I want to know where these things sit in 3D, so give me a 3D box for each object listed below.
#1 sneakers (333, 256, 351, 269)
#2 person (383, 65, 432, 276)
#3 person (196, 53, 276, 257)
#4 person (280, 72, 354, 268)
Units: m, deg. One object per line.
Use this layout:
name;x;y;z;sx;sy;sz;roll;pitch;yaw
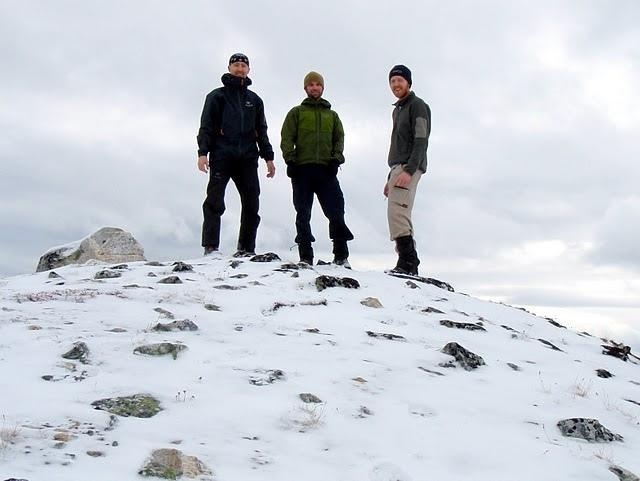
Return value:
sneakers;0.302;0.296;9.203;0.219;0.114;0.354;5;10;-9
person;1.180;-0.946;9.385;0.592;2.796;0.789;5;9;-13
person;-1.180;-1.195;9.726;1.124;2.818;0.745;4;9;-17
person;-0.037;-1.013;9.361;0.933;2.510;1.123;0;11;-35
